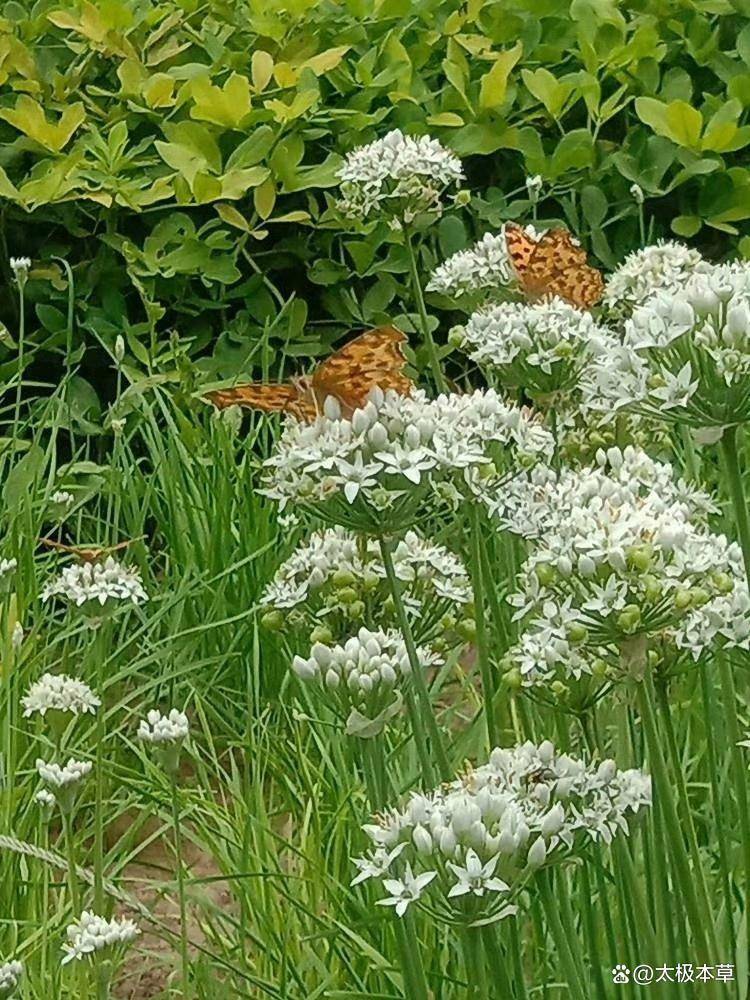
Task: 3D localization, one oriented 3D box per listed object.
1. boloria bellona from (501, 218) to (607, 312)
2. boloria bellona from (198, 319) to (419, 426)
[{"bbox_3d":[0.420,-0.489,3.843,0.165,0.195,0.220,-25,9,-15],"label":"boloria bellona"},{"bbox_3d":[-0.115,-0.209,3.200,0.350,0.164,0.246,4,-15,6],"label":"boloria bellona"}]
